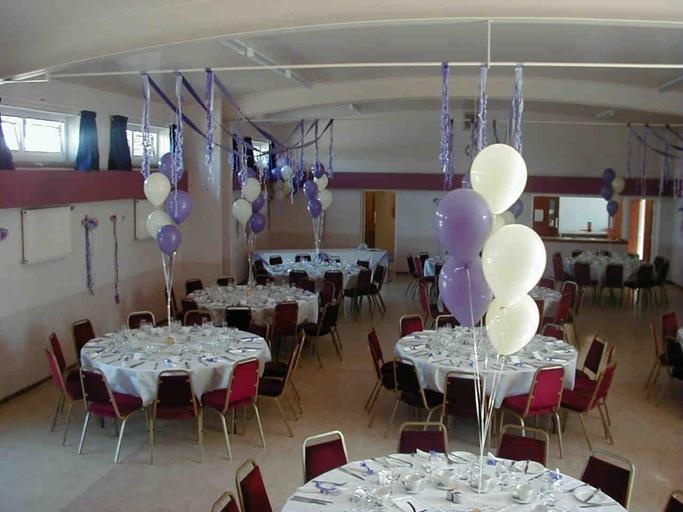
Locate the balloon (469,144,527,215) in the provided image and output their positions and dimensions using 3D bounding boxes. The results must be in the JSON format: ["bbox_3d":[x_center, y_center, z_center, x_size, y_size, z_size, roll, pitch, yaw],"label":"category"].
[{"bbox_3d":[1.413,-0.686,4.751,0.508,0.727,0.566,1,0,0],"label":"balloon"}]

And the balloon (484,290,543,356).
[{"bbox_3d":[1.512,0.584,4.505,0.402,0.522,0.292,24,10,29],"label":"balloon"}]

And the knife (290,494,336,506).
[{"bbox_3d":[-0.216,1.866,3.907,0.338,0.043,0.104,5,10,10],"label":"knife"}]

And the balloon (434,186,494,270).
[{"bbox_3d":[1.093,-0.268,4.584,0.526,0.701,0.553,-3,-8,15],"label":"balloon"}]

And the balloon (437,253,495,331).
[{"bbox_3d":[1.101,0.317,4.912,0.543,0.773,0.575,-6,9,-2],"label":"balloon"}]
